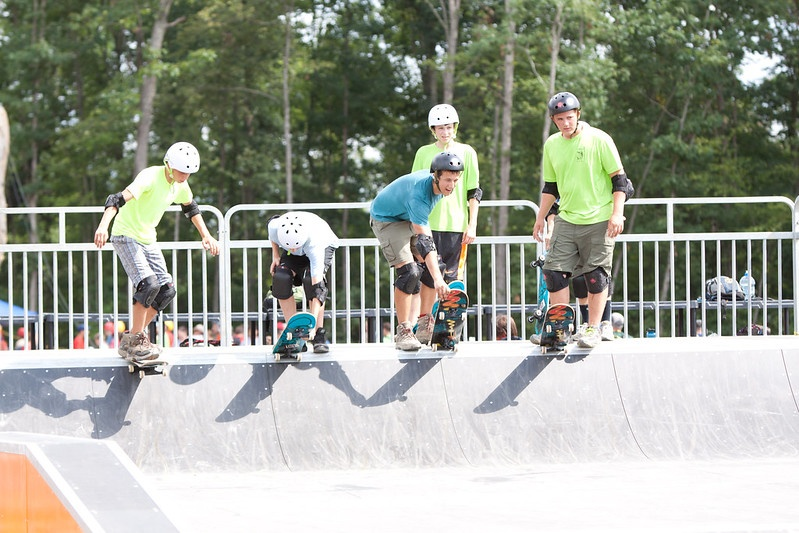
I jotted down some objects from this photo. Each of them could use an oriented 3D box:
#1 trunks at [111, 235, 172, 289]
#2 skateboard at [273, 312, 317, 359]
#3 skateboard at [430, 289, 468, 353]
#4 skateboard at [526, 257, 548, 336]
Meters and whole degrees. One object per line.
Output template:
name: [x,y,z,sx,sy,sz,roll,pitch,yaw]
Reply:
trunks: [-6.831,-0.224,37.651,0.965,1.658,1.190,-6,15,16]
skateboard: [-2.639,1.890,37.187,0.560,0.293,1.870,13,-43,-13]
skateboard: [1.276,1.454,37.312,0.604,1.855,0.260,10,36,-2]
skateboard: [3.648,0.950,37.975,0.492,2.087,0.302,0,-6,17]
